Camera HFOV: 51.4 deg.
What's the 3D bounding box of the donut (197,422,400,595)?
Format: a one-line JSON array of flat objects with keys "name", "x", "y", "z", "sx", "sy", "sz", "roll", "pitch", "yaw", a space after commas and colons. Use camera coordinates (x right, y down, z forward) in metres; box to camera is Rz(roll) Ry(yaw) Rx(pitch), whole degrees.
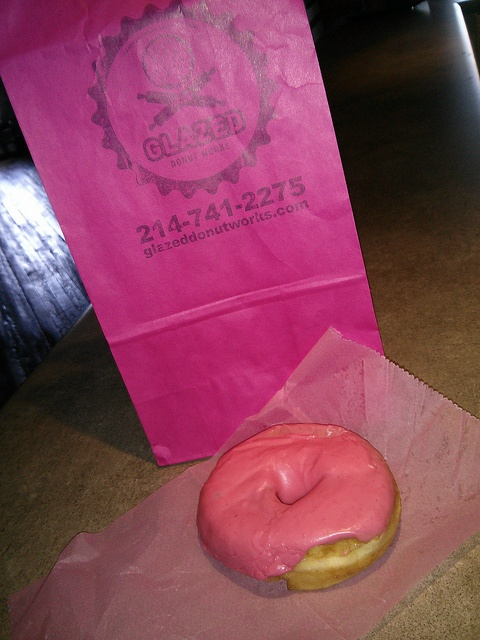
[{"name": "donut", "x": 0.116, "y": 0.358, "z": 1.020, "sx": 0.394, "sy": 0.102, "sz": 0.366, "roll": -17, "pitch": 20, "yaw": 18}]
